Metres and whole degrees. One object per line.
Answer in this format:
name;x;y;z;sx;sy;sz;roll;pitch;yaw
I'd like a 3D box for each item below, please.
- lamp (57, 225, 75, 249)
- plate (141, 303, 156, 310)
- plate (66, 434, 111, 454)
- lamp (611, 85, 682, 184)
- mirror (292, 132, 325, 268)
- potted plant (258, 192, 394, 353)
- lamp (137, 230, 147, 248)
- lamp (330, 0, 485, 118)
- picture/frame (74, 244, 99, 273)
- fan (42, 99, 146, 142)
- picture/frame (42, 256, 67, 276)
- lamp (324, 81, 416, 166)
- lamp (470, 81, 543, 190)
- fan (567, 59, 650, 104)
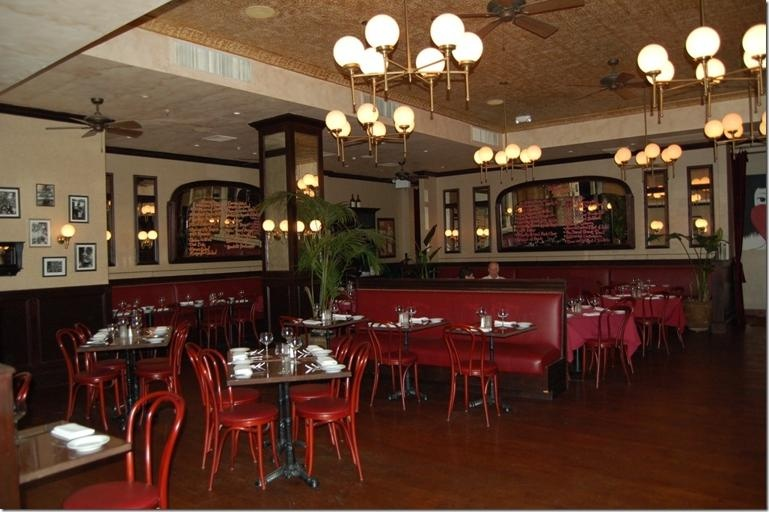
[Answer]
lamp;-5.138;-0.312;9.318;0.116;0.400;0.259;9;16;40
plate;-4.268;0.944;10.496;0.267;0.079;0.260;2;-3;-33
plate;-2.379;1.500;4.636;0.315;0.072;0.220;-8;13;-27
lamp;4.744;-2.382;10.207;1.103;1.908;1.130;8;6;32
mirror;-1.381;-1.072;10.362;0.723;2.541;0.577;-4;8;-17
potted plant;-1.116;-0.287;9.053;1.608;1.530;1.524;-1;3;30
lamp;-5.046;-0.356;12.057;0.064;0.340;0.207;5;14;29
lamp;0.218;-2.587;7.479;1.785;1.837;1.488;0;-6;-4
picture/frame;-4.954;0.043;9.550;0.071;0.644;0.525;0;0;45
fan;-4.033;-1.965;8.238;1.216;0.417;1.173;3;5;37
picture/frame;-5.306;0.157;9.236;0.350;0.302;0.032;-1;-3;-39
lamp;-0.191;-1.678;7.881;1.336;0.798;1.256;-4;-1;18
lamp;2.104;-2.086;10.158;1.124;1.432;1.125;-5;0;-15
fan;3.502;-2.582;8.846;1.196;0.430;1.138;-2;11;-9
